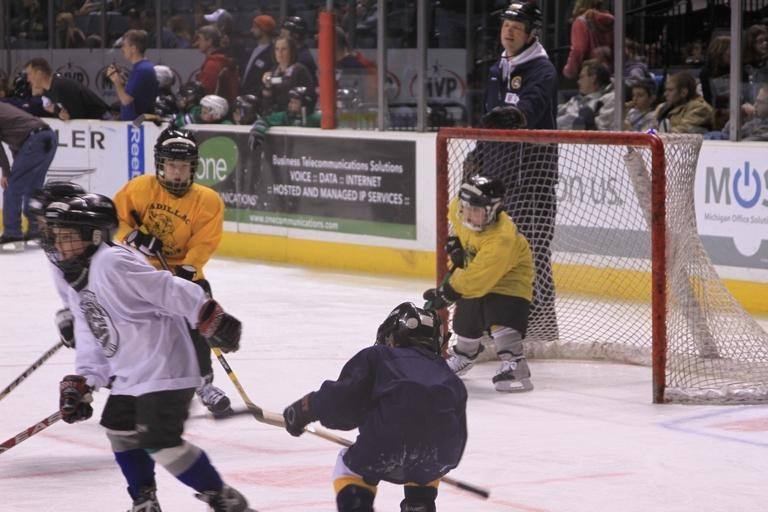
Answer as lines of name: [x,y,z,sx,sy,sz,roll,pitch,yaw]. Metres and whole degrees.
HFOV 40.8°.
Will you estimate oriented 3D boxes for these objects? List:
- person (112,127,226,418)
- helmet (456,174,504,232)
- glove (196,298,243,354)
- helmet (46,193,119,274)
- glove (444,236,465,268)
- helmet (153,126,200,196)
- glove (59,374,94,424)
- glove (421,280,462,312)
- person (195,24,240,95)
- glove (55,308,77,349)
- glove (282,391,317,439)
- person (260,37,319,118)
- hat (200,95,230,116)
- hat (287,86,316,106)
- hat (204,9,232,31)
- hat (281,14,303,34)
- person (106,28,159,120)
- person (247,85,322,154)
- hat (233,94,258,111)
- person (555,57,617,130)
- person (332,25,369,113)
person: [-1.323,0.149,6.499,0.784,1.781,0.674,0,14,-12]
helmet: [0.636,-0.344,6.576,0.283,0.316,0.334,18,30,35]
glove: [-0.749,0.327,4.712,0.253,0.181,0.115,41,-21,-29]
helmet: [-1.371,-0.114,4.787,0.311,0.321,0.259,3,0,-31]
glove: [0.469,-0.028,6.842,0.093,0.065,0.261,12,46,-27]
helmet: [-1.272,-0.592,6.333,0.279,0.371,0.411,-1,14,-18]
glove: [-1.472,0.670,4.904,0.176,0.206,0.219,-2,1,-7]
glove: [0.360,0.255,6.560,0.226,0.076,0.168,-7,16,19]
person: [-1.799,-2.053,11.115,0.498,0.775,0.546,-5,29,-7]
glove: [-1.668,0.376,5.418,0.091,0.172,0.328,-14,4,-21]
glove: [-0.374,0.697,4.558,0.069,0.194,0.148,48,21,29]
person: [-0.980,-1.765,10.451,0.634,0.803,0.471,16,24,36]
hat: [-1.768,-1.565,10.826,0.259,0.180,0.195,0,26,-24]
hat: [-0.799,-1.565,10.238,0.262,0.178,0.102,1,6,-5]
hat: [-1.774,-2.499,11.093,0.331,0.165,0.205,25,26,-9]
hat: [-0.894,-2.282,10.306,0.188,0.153,0.150,-19,32,-20]
person: [-2.686,-1.665,10.983,0.538,1.400,0.576,6,29,-6]
person: [-0.911,-1.394,10.436,0.951,0.445,0.505,-12,12,1]
hat: [-1.424,-1.556,10.712,0.213,0.153,0.164,13,3,11]
person: [1.738,-1.301,8.916,0.504,0.640,0.827,-2,15,9]
person: [-0.305,-1.780,10.011,0.338,0.792,0.125,2,6,8]
